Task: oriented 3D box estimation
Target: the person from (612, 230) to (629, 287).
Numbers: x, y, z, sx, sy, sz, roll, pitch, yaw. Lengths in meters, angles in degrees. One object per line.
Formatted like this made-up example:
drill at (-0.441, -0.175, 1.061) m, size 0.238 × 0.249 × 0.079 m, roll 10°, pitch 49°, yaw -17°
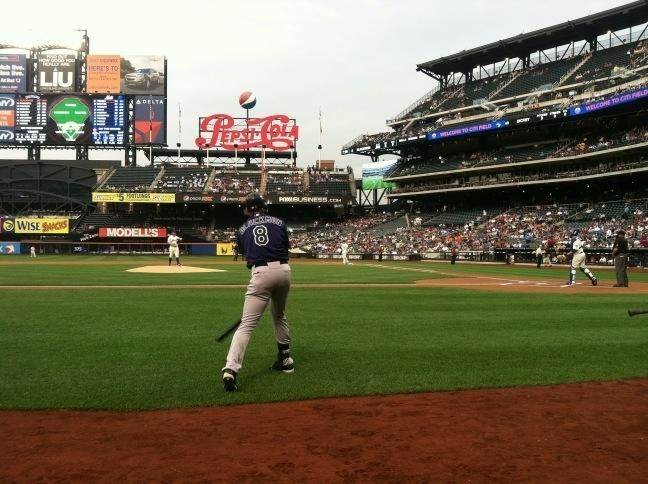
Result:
person at (8.746, 0.472, 20.816) m, size 0.407 × 1.643 × 1.269 m, roll 1°, pitch 1°, yaw 23°

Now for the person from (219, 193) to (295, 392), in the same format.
person at (-0.945, 0.683, 10.524) m, size 1.026 × 2.786 × 1.329 m, roll 1°, pitch 1°, yaw -3°
